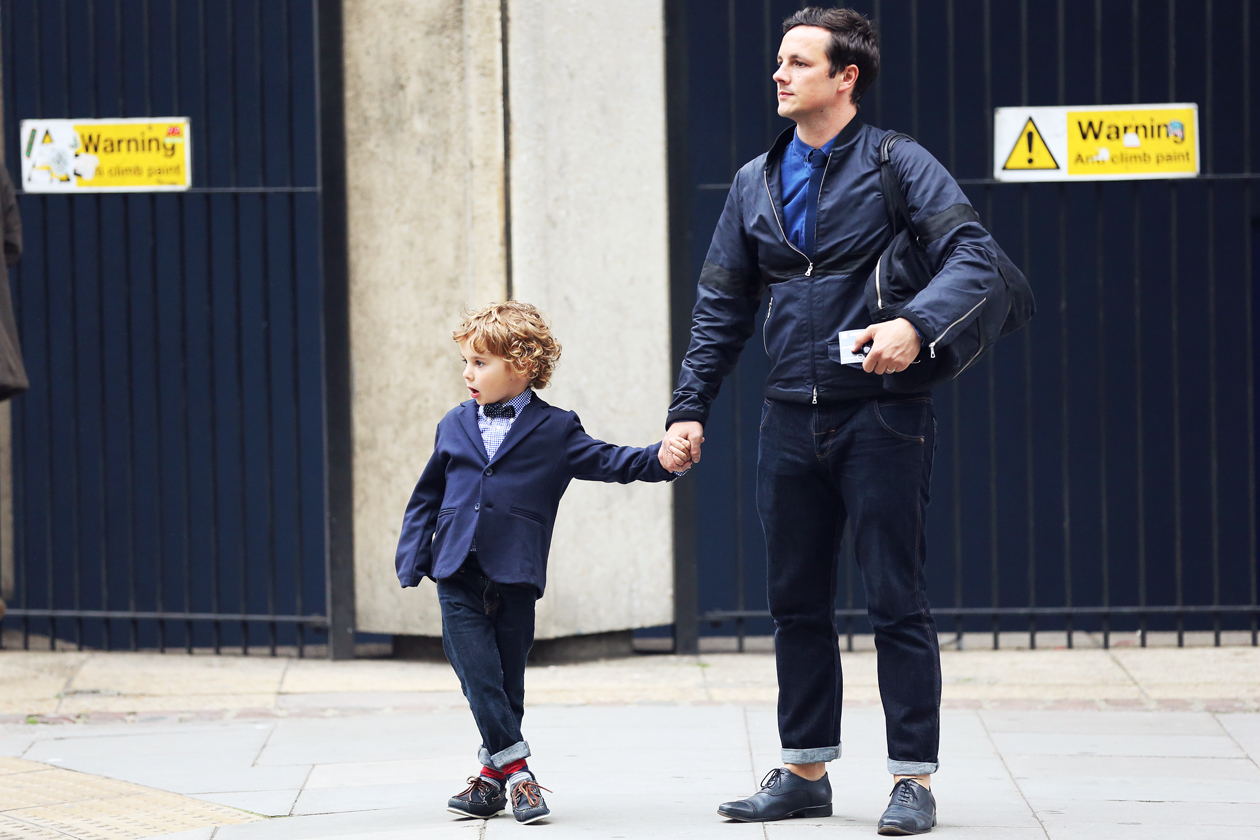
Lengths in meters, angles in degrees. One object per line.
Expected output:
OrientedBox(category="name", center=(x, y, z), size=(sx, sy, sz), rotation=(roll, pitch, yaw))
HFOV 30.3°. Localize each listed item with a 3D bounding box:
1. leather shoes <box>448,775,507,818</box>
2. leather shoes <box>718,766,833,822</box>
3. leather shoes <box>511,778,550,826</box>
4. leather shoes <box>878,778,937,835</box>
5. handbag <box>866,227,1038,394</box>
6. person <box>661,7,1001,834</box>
OrientedBox(category="leather shoes", center=(-0.675, 1.716, 10.534), size=(0.282, 0.133, 0.138), rotation=(5, -2, -13))
OrientedBox(category="leather shoes", center=(0.695, 1.713, 10.560), size=(0.587, 0.270, 0.203), rotation=(0, -8, -7))
OrientedBox(category="leather shoes", center=(-0.452, 1.706, 10.423), size=(0.170, 0.217, 0.166), rotation=(-2, 15, -3))
OrientedBox(category="leather shoes", center=(1.231, 1.709, 10.281), size=(0.310, 0.233, 0.192), rotation=(-4, 15, -10))
OrientedBox(category="handbag", center=(1.423, -0.542, 10.434), size=(0.712, 0.721, 0.698), rotation=(14, -24, 17))
OrientedBox(category="person", center=(0.920, -0.019, 10.379), size=(1.329, 3.530, 0.966), rotation=(8, 17, 30))
